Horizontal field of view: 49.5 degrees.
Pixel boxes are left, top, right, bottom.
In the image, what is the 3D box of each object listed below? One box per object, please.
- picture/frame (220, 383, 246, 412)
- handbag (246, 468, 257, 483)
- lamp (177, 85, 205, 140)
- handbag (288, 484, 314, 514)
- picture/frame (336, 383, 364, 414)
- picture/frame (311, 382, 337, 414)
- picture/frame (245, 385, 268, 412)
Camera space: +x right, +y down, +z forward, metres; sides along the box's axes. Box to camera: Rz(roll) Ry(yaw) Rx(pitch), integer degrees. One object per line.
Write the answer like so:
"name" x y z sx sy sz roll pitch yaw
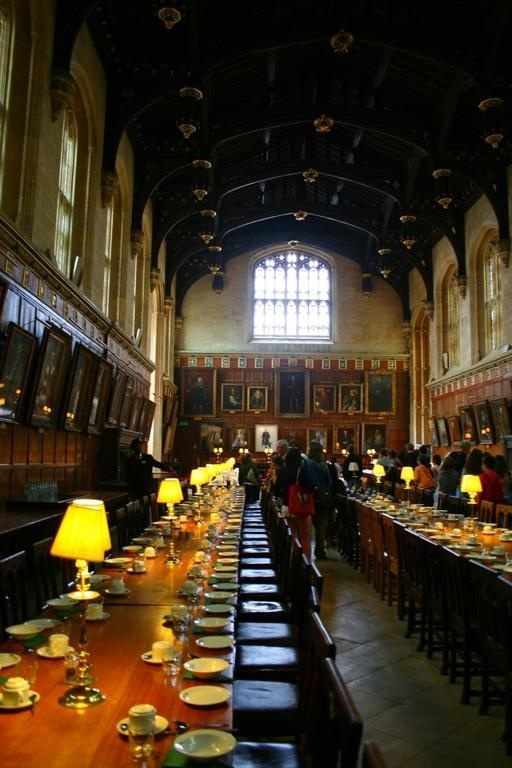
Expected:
"picture/frame" -0.970 0.608 23.017 1.048 1.407 0.148 0 -9 -6
"handbag" -0.127 2.074 12.534 0.318 0.356 0.098 -1 21 -2
"lamp" -1.197 -4.687 9.734 0.386 0.783 0.395 5 -1 -12
"handbag" 0.569 1.493 7.185 0.371 0.566 0.210 1 -3 -12
"picture/frame" 3.850 0.660 23.054 1.124 1.541 0.128 1 -4 -4
"picture/frame" 2.781 0.610 23.054 0.956 1.192 0.161 0 -7 6
"picture/frame" -0.015 0.647 23.029 0.969 1.417 0.226 0 -12 -3
